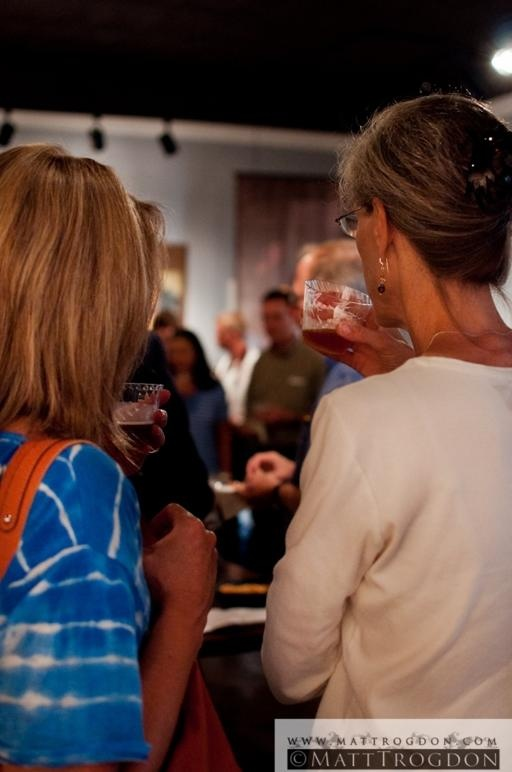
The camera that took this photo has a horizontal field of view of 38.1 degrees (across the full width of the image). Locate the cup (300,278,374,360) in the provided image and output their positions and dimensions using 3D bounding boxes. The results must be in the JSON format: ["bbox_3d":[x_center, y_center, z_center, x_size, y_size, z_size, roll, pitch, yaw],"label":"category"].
[{"bbox_3d":[0.110,-0.112,1.347,0.164,0.117,0.156,3,-1,0],"label":"cup"}]

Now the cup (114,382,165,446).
[{"bbox_3d":[-0.167,0.037,1.156,0.076,0.059,0.080,3,-3,0],"label":"cup"}]
